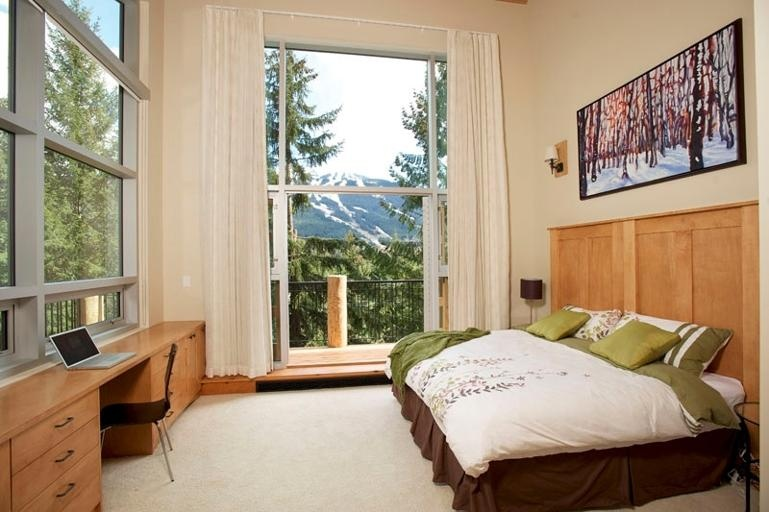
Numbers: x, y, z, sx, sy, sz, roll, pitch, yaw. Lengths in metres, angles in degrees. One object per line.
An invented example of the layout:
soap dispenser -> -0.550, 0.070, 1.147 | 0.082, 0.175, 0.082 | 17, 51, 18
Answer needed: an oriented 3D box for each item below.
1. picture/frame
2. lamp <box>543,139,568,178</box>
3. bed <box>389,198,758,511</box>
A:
picture/frame -> 2.923, -1.534, 5.417 | 0.081, 1.313, 2.187 | 3, -7, -23
lamp -> 2.233, -1.275, 6.813 | 0.276, 0.447, 0.294 | -1, -2, 18
bed -> 1.769, 0.732, 5.420 | 2.750, 2.143, 2.776 | -1, 1, -11
